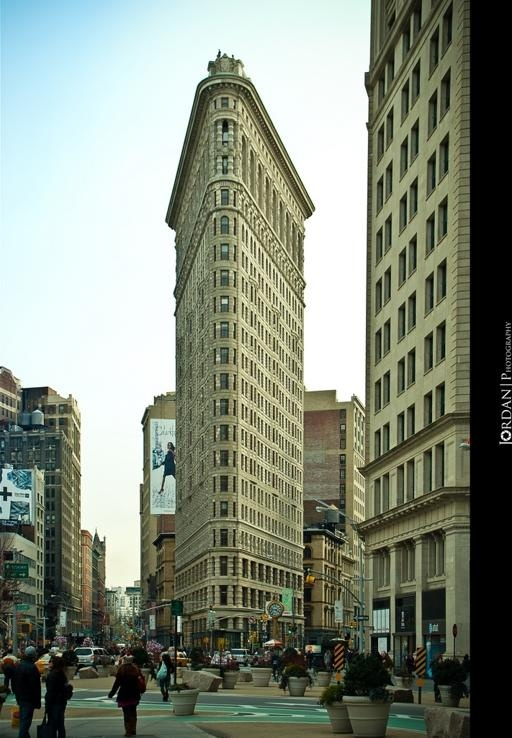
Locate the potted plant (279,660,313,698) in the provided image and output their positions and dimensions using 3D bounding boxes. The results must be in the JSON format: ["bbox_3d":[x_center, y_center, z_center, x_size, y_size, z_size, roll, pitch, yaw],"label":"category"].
[{"bbox_3d":[1.336,10.630,47.449,0.912,1.326,1.088,2,-4,1],"label":"potted plant"}]

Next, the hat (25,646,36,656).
[{"bbox_3d":[-3.945,4.983,24.394,0.120,0.158,0.212,3,3,-4],"label":"hat"}]

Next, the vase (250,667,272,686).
[{"bbox_3d":[0.263,12.891,57.877,0.696,0.735,0.846,1,-11,-2],"label":"vase"}]

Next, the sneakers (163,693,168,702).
[{"bbox_3d":[-2.678,9.917,41.652,0.103,0.234,0.225,2,-36,-1],"label":"sneakers"}]

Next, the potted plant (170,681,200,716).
[{"bbox_3d":[-1.819,8.302,34.711,0.529,0.548,0.611,-6,-17,24],"label":"potted plant"}]

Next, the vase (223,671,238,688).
[{"bbox_3d":[-0.957,11.975,53.193,0.551,0.569,0.569,-4,-10,42],"label":"vase"}]
